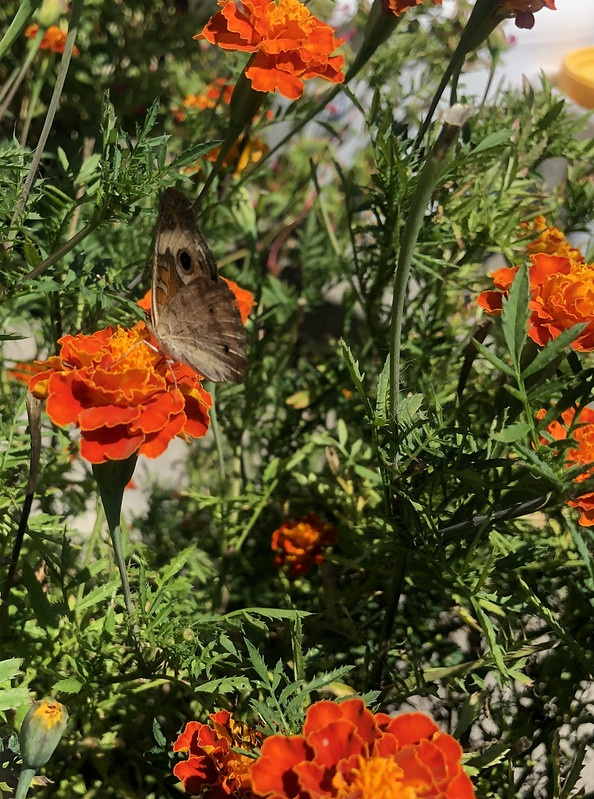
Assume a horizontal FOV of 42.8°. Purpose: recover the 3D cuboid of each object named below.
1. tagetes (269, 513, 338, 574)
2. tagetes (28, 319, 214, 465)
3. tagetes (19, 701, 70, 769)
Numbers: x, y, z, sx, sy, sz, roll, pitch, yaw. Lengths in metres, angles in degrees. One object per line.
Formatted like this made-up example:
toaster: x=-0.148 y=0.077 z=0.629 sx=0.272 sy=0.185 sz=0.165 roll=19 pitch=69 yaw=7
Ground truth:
tagetes: x=0.008 y=0.208 z=1.065 sx=0.085 sy=0.084 sz=0.110 roll=5 pitch=-18 yaw=1
tagetes: x=-0.195 y=0.022 z=0.799 sx=0.181 sy=0.115 sz=0.173 roll=-26 pitch=-20 yaw=23
tagetes: x=-0.215 y=0.279 z=0.634 sx=0.033 sy=0.063 sz=0.027 roll=15 pitch=8 yaw=-24
